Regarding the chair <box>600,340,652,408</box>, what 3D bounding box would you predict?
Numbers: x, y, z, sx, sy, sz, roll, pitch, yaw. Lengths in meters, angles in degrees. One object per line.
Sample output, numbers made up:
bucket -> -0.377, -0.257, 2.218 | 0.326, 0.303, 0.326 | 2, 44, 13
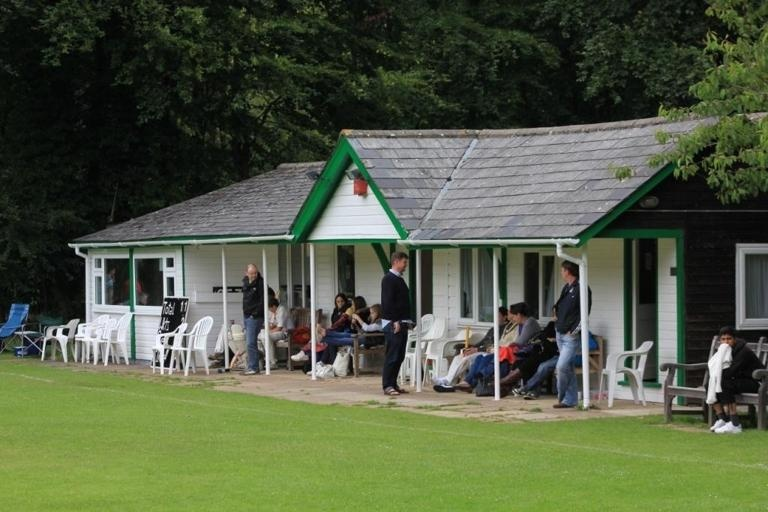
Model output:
chair -> 5.338, 2.634, 33.783 | 1.142, 1.511, 1.326 | 2, -6, 4

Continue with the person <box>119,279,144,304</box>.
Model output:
person -> -7.054, 1.003, 42.509 | 0.713, 0.671, 0.168 | 4, 1, 38

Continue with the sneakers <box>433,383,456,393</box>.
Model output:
sneakers -> 1.386, 3.062, 35.142 | 0.483, 0.217, 0.191 | 9, -3, -4

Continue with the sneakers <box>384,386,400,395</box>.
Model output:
sneakers -> 0.151, 3.098, 34.696 | 0.155, 0.130, 0.311 | 2, -4, -35

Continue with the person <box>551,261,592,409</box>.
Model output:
person -> 3.963, 1.714, 33.004 | 0.559, 3.149, 0.676 | 2, -6, 9

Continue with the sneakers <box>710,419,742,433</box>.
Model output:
sneakers -> 6.911, 3.465, 30.789 | 0.514, 0.218, 0.237 | 1, -6, 2

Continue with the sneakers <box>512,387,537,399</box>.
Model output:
sneakers -> 3.149, 3.080, 34.180 | 0.197, 0.239, 0.525 | 1, 8, -45

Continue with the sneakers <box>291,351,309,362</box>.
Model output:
sneakers -> -2.163, 2.609, 39.317 | 0.574, 0.267, 0.213 | 1, 2, 10

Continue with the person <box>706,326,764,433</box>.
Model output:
person -> 7.094, 2.538, 30.995 | 1.049, 2.151, 0.410 | 2, -6, 11

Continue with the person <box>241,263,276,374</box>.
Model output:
person -> -3.318, 1.634, 38.776 | 0.652, 2.788, 1.425 | 3, -6, -5

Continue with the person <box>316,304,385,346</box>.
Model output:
person -> -0.724, 1.775, 38.358 | 1.385, 1.134, 1.089 | 3, -6, -3
